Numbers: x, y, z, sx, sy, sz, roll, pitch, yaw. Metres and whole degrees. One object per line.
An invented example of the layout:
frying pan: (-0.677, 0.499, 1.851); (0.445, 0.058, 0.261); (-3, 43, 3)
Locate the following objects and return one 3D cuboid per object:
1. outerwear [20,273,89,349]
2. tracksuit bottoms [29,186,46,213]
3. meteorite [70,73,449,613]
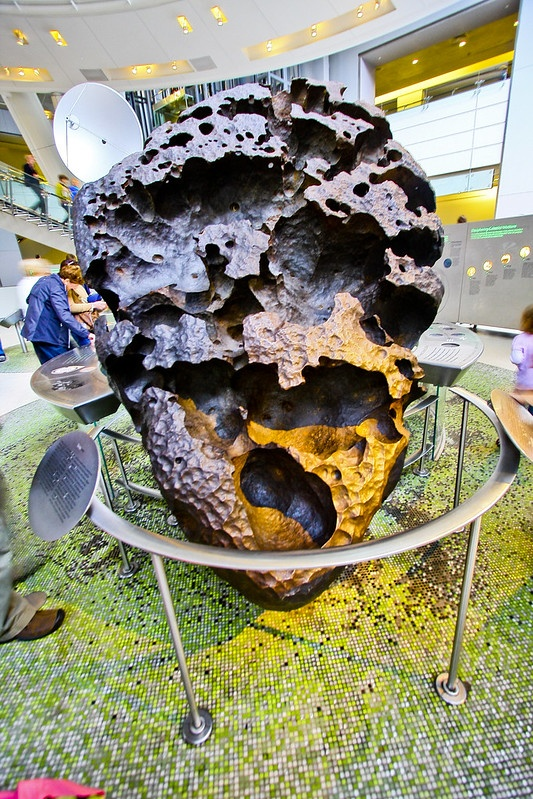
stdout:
outerwear: (-1.420, -0.602, 3.512); (0.279, 0.391, 0.784); (-14, 38, -37)
tracksuit bottoms: (-3.110, -2.714, 7.018); (0.080, 0.252, 0.222); (33, 45, 7)
meteorite: (-0.023, -0.114, 2.012); (1.338, 1.626, 0.471); (0, -20, -2)
